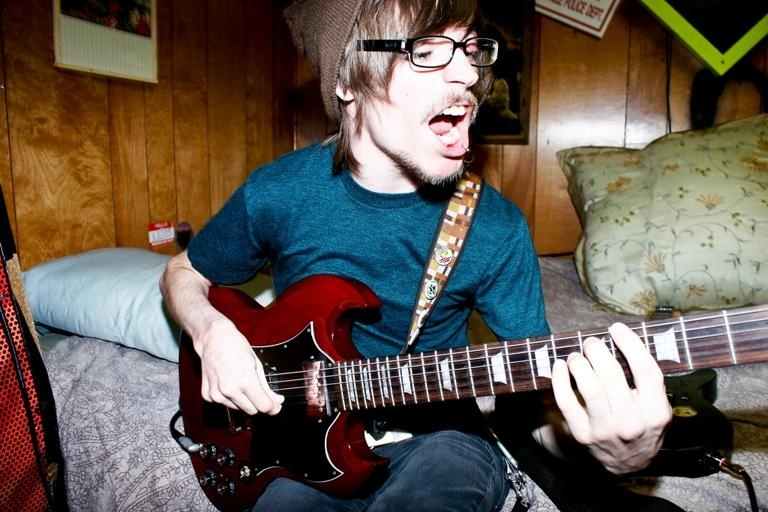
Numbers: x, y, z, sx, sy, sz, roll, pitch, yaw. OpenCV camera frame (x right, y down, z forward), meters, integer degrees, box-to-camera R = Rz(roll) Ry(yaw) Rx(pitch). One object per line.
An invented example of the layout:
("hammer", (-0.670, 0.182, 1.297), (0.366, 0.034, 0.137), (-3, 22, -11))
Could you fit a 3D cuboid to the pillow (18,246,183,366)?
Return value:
("pillow", (-0.984, 0.141, 2.076), (0.469, 0.148, 0.395), (21, 32, 9))
